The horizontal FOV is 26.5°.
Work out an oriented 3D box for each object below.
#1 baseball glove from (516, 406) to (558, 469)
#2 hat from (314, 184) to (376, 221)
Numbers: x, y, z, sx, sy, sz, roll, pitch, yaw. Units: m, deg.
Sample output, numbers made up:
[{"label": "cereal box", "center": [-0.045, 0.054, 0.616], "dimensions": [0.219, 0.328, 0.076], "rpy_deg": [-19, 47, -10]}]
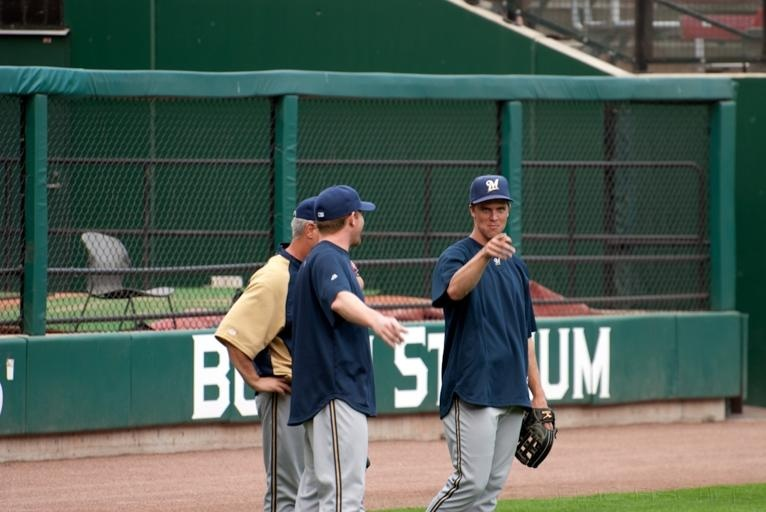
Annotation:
[{"label": "baseball glove", "center": [1.508, 1.814, 16.182], "dimensions": [0.221, 0.602, 0.390], "rpy_deg": [14, 8, -45]}, {"label": "hat", "center": [-0.419, -0.555, 15.872], "dimensions": [0.435, 0.257, 0.322], "rpy_deg": [-15, 13, -18]}]
